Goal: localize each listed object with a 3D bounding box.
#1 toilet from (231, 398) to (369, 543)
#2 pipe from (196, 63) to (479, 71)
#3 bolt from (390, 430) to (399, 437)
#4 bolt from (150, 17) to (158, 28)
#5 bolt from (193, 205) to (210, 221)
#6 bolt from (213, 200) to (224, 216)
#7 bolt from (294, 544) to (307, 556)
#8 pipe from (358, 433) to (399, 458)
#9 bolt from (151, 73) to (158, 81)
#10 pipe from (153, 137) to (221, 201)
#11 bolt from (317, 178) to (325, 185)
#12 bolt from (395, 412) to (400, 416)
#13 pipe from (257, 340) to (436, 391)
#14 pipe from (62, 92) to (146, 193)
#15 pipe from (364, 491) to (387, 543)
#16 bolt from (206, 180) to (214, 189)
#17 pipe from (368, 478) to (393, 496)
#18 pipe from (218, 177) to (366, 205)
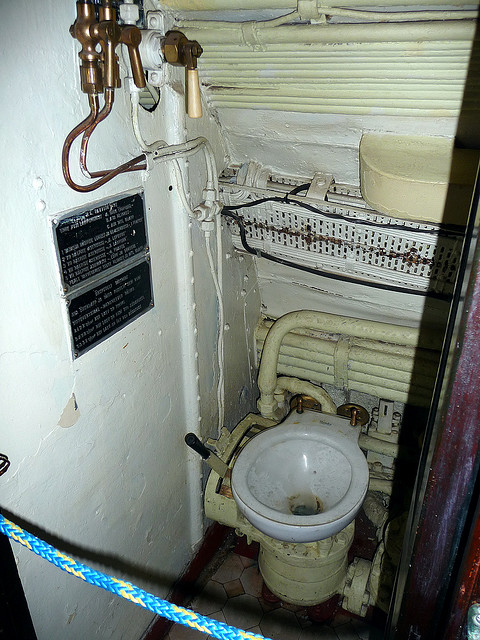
[{"bbox_3d":[0.217,0.592,1.614,0.465,0.253,0.561,4,28,8],"label":"toilet"},{"bbox_3d":[0.194,-0.613,1.077,0.716,0.020,0.042,17,32,28],"label":"pipe"},{"bbox_3d":[0.723,0.520,2.046,0.025,0.029,0.007,-26,1,31],"label":"bolt"},{"bbox_3d":[-0.197,-0.673,1.010,0.017,0.019,0.007,-6,25,-12],"label":"bolt"},{"bbox_3d":[-0.116,-0.320,1.334,0.032,0.040,0.053,13,30,27],"label":"bolt"},{"bbox_3d":[-0.069,-0.354,1.403,0.026,0.033,0.041,-1,68,0],"label":"bolt"},{"bbox_3d":[0.212,0.786,1.531,0.043,0.010,0.046,-3,28,-6],"label":"bolt"},{"bbox_3d":[0.641,0.563,2.019,0.201,0.059,0.044,17,43,9],"label":"pipe"},{"bbox_3d":[-0.200,-0.564,1.036,0.018,0.015,0.003,12,26,23],"label":"bolt"},{"bbox_3d":[-0.131,-0.423,1.280,0.077,0.186,0.357,6,28,15],"label":"pipe"},{"bbox_3d":[0.275,-0.463,1.485,0.018,0.005,0.022,-2,65,1],"label":"bolt"},{"bbox_3d":[0.717,0.416,1.998,0.016,0.019,0.004,12,11,19],"label":"bolt"},{"bbox_3d":[0.481,0.189,1.912,0.617,0.079,0.052,21,49,27],"label":"pipe"},{"bbox_3d":[-0.294,-0.386,0.961,0.068,0.191,0.289,4,27,10],"label":"pipe"},{"bbox_3d":[0.627,0.889,2.036,0.059,0.121,0.216,-1,66,10],"label":"pipe"},{"bbox_3d":[-0.089,-0.408,1.348,0.018,0.035,0.021,13,47,9],"label":"bolt"},{"bbox_3d":[0.644,0.728,2.008,0.122,0.085,0.031,8,-6,11],"label":"pipe"},{"bbox_3d":[0.173,-0.447,1.523,0.522,0.043,0.056,11,29,19],"label":"pipe"}]
